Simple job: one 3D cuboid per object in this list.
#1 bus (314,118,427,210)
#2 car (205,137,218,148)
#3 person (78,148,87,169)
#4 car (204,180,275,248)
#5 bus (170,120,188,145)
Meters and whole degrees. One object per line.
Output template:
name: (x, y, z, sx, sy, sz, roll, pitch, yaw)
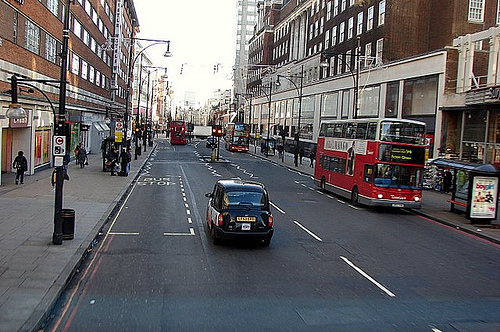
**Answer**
bus: (8.458, -0.535, 29.459, 3.514, 5.953, 11.913, 2, 4, -11)
car: (-8.010, -4.849, 80.968, 2.375, 1.993, 5.658, 0, 1, -8)
person: (-16.305, -0.813, 37.013, 0.620, 1.931, 1.082, -1, 6, -24)
car: (-0.576, 1.926, 15.508, 2.132, 2.399, 2.974, -2, 7, -36)
bus: (-16.314, -7.716, 88.030, 3.326, 5.493, 5.090, 2, 6, -3)
